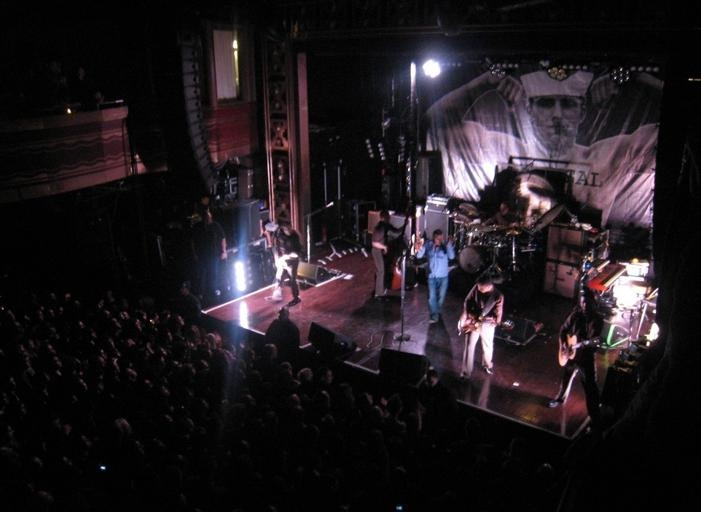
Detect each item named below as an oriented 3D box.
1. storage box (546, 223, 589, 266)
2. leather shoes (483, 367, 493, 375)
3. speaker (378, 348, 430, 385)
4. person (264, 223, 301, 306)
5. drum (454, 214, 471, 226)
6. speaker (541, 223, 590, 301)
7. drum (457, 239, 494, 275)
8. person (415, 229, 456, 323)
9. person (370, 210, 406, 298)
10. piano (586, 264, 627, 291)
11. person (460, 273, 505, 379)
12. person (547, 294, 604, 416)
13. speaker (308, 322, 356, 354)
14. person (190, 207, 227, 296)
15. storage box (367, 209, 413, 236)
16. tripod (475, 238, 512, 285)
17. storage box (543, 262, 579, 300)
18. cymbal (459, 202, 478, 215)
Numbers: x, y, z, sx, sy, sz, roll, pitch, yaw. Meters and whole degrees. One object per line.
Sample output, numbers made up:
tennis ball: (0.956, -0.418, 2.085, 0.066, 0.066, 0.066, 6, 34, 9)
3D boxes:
storage box: (4.793, -0.378, 12.171, 0.983, 1.065, 0.750, 13, 23, 40)
leather shoes: (2.398, 1.988, 9.446, 0.073, 0.090, 0.208, -3, 0, -3)
speaker: (0.794, 1.734, 8.565, 0.791, 0.443, 0.563, 7, 44, 3)
person: (-1.484, 0.126, 11.850, 0.796, 1.836, 0.635, 5, 17, 9)
drum: (2.810, -0.918, 13.706, 0.258, 0.154, 0.376, -9, 7, -36)
speaker: (4.829, 0.092, 12.291, 0.791, 1.602, 0.672, 8, 19, 26)
drum: (2.829, 0.091, 12.290, 0.758, 0.668, 0.432, 1, 18, 11)
person: (1.642, 0.395, 10.830, 0.930, 1.936, 0.784, 1, -1, -33)
person: (0.855, 0.015, 12.176, 1.010, 2.377, 0.905, -8, 30, -12)
piano: (4.828, 0.400, 10.244, 0.572, 0.282, 1.462, 8, 21, 30)
person: (2.172, 1.148, 9.081, 0.628, 1.797, 0.602, 4, 14, 1)
person: (3.539, 1.392, 8.197, 0.750, 1.865, 0.688, 20, 28, 40)
speaker: (-0.335, 1.552, 9.653, 0.471, 0.321, 0.699, 21, -12, 36)
person: (-3.019, -0.060, 11.839, 0.561, 2.067, 0.630, -14, 26, -40)
storage box: (0.970, -0.802, 12.927, 0.704, 0.481, 0.207, 15, 24, 42)
tripod: (3.314, 0.194, 12.250, 0.765, 0.861, 0.791, -3, 13, 6)
storage box: (4.785, 0.493, 12.267, 0.762, 0.782, 0.411, 11, 11, 43)
cymbal: (3.056, -1.205, 14.037, 0.482, 0.200, 0.788, 0, 18, 6)
